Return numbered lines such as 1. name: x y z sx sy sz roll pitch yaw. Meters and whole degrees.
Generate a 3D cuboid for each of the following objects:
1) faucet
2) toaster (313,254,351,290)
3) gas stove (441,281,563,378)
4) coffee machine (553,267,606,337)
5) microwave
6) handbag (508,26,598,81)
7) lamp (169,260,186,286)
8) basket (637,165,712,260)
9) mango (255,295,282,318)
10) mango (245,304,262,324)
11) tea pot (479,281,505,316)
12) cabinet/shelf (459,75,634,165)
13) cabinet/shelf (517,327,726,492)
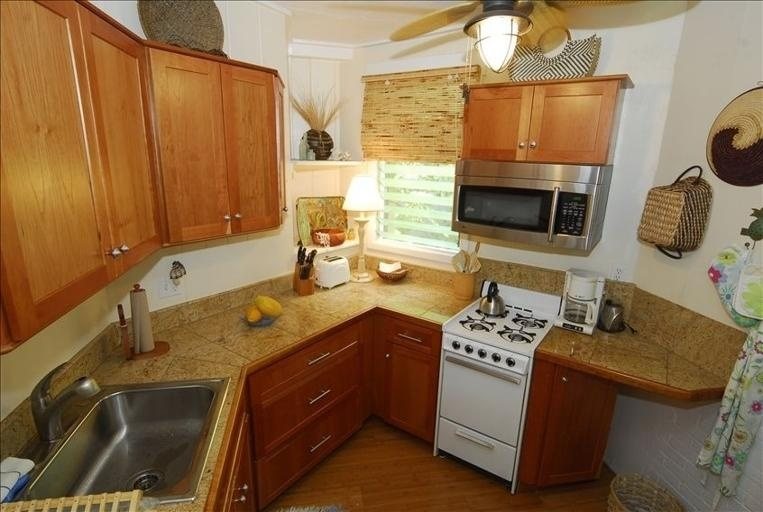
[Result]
1. faucet: -1.422 0.676 2.196 0.294 0.372 0.089 2 19 6
2. toaster: -0.392 0.121 3.872 0.166 0.216 0.303 14 17 30
3. gas stove: 0.846 0.517 3.407 0.625 0.465 0.797 14 19 32
4. coffee machine: 1.376 0.294 3.310 0.244 0.377 0.291 14 19 32
5. microwave: 1.000 -0.385 3.370 0.926 0.576 0.559 11 22 30
6. handbag: 1.082 -1.258 3.037 0.536 0.293 0.094 4 -10 30
7. lamp: -1.308 0.101 3.095 0.096 0.150 0.136 14 8 6
8. basket: 1.776 -0.295 2.904 0.251 0.478 0.294 -2 18 -5
9. mango: -0.746 0.315 3.210 0.120 0.107 0.170 40 -15 -29
10. mango: -0.830 0.377 3.195 0.097 0.090 0.119 -27 32 11
11. tea pot: 0.816 0.279 3.515 0.224 0.236 0.217 -2 13 0
12. cabinet/shelf: 1.052 -0.875 3.227 1.012 0.522 0.437 10 14 35
13. cabinet/shelf: 1.316 1.091 3.276 1.002 0.866 0.934 12 -1 -27
